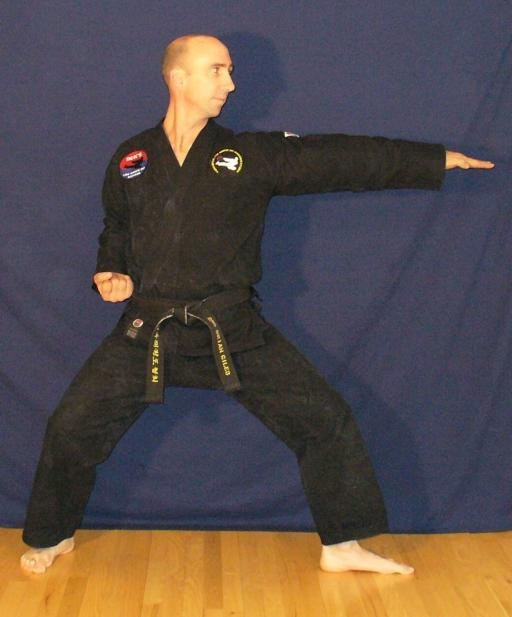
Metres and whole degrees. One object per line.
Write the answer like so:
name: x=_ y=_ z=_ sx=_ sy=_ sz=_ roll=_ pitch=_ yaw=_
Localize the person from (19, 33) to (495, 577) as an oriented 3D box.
person: x=-0.113 y=0.018 z=2.442 sx=1.338 sy=1.736 sz=0.796 roll=2 pitch=25 yaw=5
